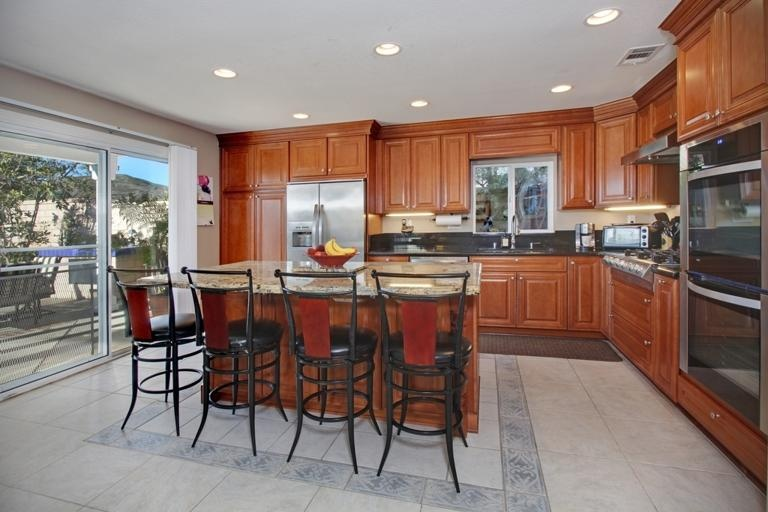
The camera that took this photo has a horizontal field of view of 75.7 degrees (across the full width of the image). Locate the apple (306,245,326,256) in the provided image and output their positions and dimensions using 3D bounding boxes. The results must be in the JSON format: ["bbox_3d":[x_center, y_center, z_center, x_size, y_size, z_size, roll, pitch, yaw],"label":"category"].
[{"bbox_3d":[-0.565,-0.038,4.062,0.156,0.061,0.148,-3,-1,10],"label":"apple"}]

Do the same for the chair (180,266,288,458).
[{"bbox_3d":[-1.179,0.744,3.905,0.772,1.399,0.715,-4,6,3],"label":"chair"}]

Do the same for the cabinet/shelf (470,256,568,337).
[{"bbox_3d":[1.563,0.417,5.527,1.032,0.767,0.382,0,-3,13],"label":"cabinet/shelf"}]

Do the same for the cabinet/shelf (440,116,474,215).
[{"bbox_3d":[0.877,-1.043,6.107,0.394,0.952,0.098,-3,6,18],"label":"cabinet/shelf"}]

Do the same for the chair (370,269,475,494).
[{"bbox_3d":[0.302,0.812,3.631,0.721,1.522,0.899,-4,6,7],"label":"chair"}]

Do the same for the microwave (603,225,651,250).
[{"bbox_3d":[2.714,-0.210,5.518,0.464,0.274,0.281,-1,-4,41],"label":"microwave"}]

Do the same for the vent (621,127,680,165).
[{"bbox_3d":[2.731,-1.051,4.738,0.548,0.254,0.713,2,2,9],"label":"vent"}]

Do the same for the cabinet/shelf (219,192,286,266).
[{"bbox_3d":[-1.668,-0.378,6.405,1.059,0.954,0.363,0,-2,15],"label":"cabinet/shelf"}]

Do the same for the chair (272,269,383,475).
[{"bbox_3d":[-0.403,0.781,3.743,0.727,1.456,0.721,-5,6,-2],"label":"chair"}]

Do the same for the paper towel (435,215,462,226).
[{"bbox_3d":[0.842,-0.463,6.356,0.361,0.156,0.235,-4,5,6],"label":"paper towel"}]

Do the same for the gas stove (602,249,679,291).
[{"bbox_3d":[2.462,0.126,4.622,0.427,0.297,1.339,-3,5,12],"label":"gas stove"}]

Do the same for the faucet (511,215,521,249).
[{"bbox_3d":[1.661,-0.330,6.220,0.110,0.432,0.148,-3,6,18],"label":"faucet"}]
